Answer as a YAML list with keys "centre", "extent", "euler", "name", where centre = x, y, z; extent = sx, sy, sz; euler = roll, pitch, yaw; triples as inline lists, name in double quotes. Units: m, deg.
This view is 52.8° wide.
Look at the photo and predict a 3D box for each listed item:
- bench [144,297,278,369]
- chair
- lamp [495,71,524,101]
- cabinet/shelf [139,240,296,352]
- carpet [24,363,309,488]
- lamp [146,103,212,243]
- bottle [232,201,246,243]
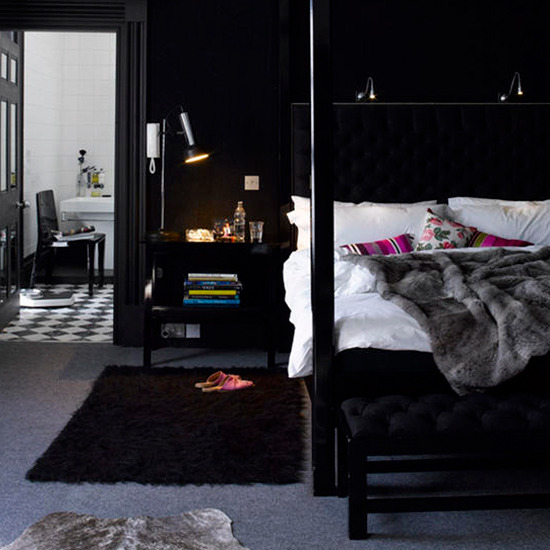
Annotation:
- centre: [-0.423, 0.334, 3.737]
  extent: [0.858, 0.456, 0.596]
  euler: [0, 6, -7]
  name: "bench"
- centre: [-2.195, -0.407, 5.807]
  extent: [0.725, 1.003, 0.730]
  euler: [6, -2, -1]
  name: "chair"
- centre: [1.712, -1.342, 3.931]
  extent: [0.193, 0.229, 0.133]
  euler: [1, 5, 5]
  name: "lamp"
- centre: [-0.339, 0.083, 3.775]
  extent: [1.190, 1.119, 0.645]
  euler: [0, 1, 2]
  name: "cabinet/shelf"
- centre: [-0.418, 0.692, 2.511]
  extent: [1.130, 0.027, 1.014]
  euler: [1, 6, 0]
  name: "carpet"
- centre: [-0.662, -0.731, 3.823]
  extent: [0.444, 0.891, 0.334]
  euler: [0, 5, -8]
  name: "lamp"
- centre: [-0.244, -0.384, 3.876]
  extent: [0.095, 0.276, 0.300]
  euler: [0, 6, -3]
  name: "bottle"
